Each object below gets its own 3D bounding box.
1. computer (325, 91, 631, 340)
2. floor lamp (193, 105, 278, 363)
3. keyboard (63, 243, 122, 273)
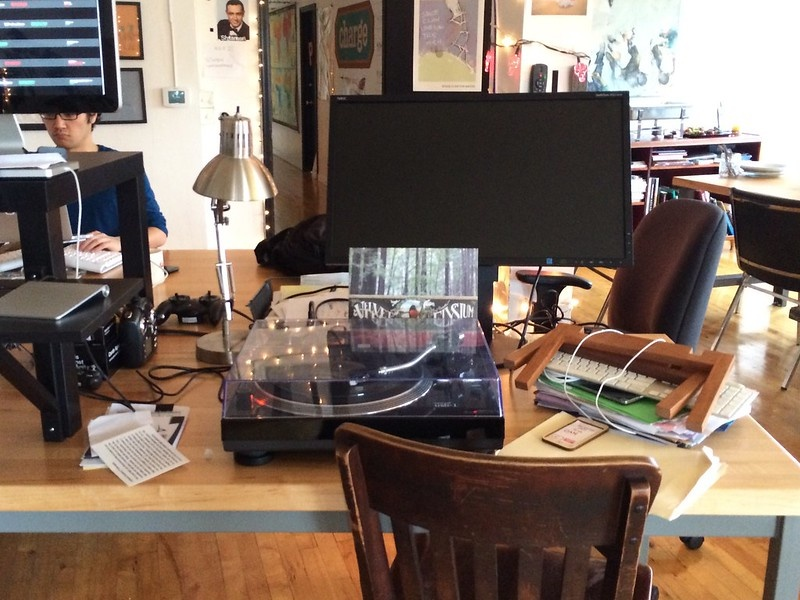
[{"bbox_3d":[0.172,-0.216,1.547,0.923,0.717,0.198,0,-2,1],"label":"computer"},{"bbox_3d":[-0.397,-0.141,1.541,0.214,0.582,0.238,-4,11,-33],"label":"floor lamp"},{"bbox_3d":[-0.989,-0.131,2.077,0.143,0.031,0.134,11,19,18],"label":"keyboard"}]
